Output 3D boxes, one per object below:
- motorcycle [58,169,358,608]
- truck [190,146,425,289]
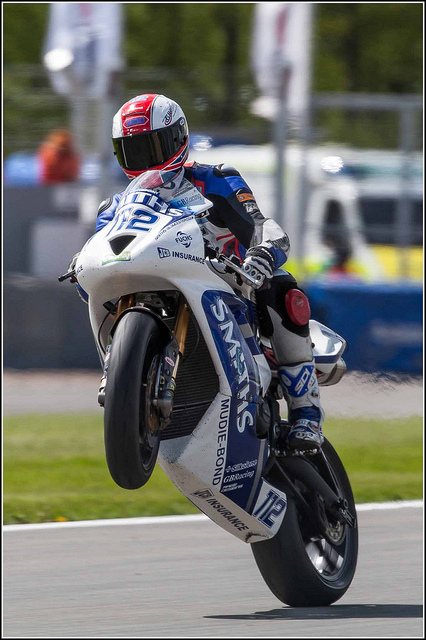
[{"bbox_3d":[0.034,0.283,2.833,0.381,1.538,1.456,-4,-4,30],"label":"motorcycle"},{"bbox_3d":[0.916,-1.127,9.092,2.599,1.115,1.614,-1,8,-7],"label":"truck"}]
